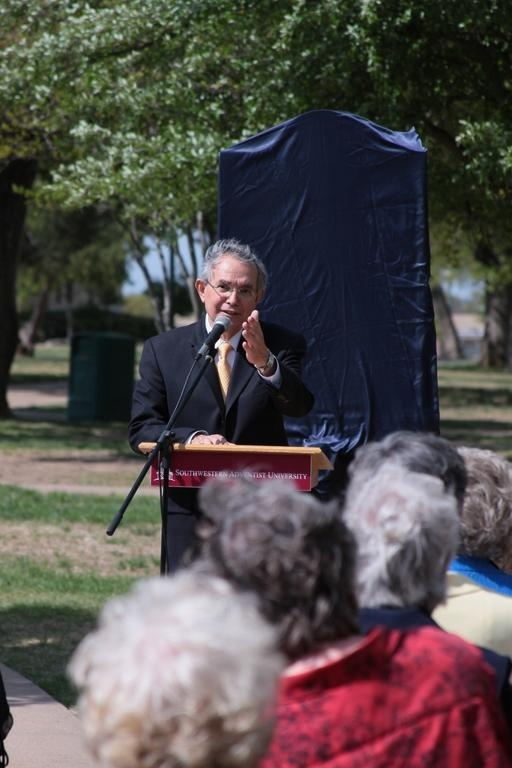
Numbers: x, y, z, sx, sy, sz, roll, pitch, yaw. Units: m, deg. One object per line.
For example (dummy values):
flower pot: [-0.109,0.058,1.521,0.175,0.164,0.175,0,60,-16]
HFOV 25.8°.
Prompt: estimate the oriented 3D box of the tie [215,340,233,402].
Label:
tie: [-0.112,-0.090,3.901,0.043,0.225,0.027,10,-45,0]

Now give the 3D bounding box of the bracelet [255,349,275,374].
bracelet: [0.038,-0.093,3.677,0.081,0.074,0.053,2,7,-5]

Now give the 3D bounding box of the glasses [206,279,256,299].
glasses: [-0.088,-0.335,3.830,0.160,0.029,0.072,5,3,0]

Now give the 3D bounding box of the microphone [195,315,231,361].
microphone: [-0.135,-0.177,3.651,0.077,0.141,0.134,7,3,9]

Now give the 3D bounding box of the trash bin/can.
trash bin/can: [-0.717,-0.057,5.287,0.297,0.397,0.286,3,0,35]
